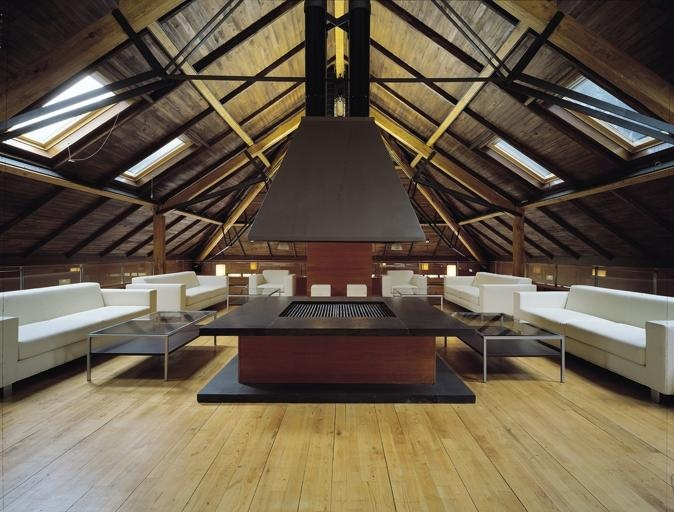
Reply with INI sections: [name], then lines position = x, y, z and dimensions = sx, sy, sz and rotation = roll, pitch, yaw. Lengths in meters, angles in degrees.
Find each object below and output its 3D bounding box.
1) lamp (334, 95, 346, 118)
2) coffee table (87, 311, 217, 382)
[lamp]
position = 0.053, -2.411, 7.146
dimensions = 0.181, 0.315, 0.318
rotation = -2, -2, 1
[coffee table]
position = -2.186, 1.046, 5.354
dimensions = 1.223, 0.666, 1.224
rotation = -2, -2, 1
